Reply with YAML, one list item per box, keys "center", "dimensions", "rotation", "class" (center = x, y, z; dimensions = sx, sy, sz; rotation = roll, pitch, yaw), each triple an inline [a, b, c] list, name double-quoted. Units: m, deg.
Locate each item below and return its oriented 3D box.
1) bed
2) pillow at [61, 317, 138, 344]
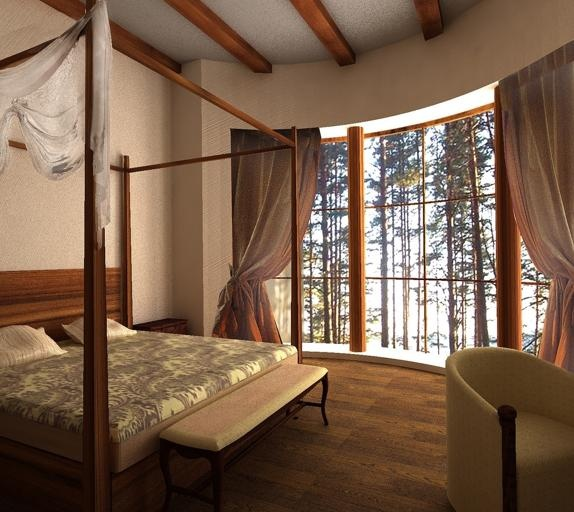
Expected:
- center: [-0.850, 0.056, 3.412]
  dimensions: [2.028, 2.498, 2.518]
  rotation: [0, 1, 17]
  class: "bed"
- center: [-1.710, 0.635, 4.130]
  dimensions: [0.412, 0.119, 0.410]
  rotation: [10, 3, 28]
  class: "pillow"
